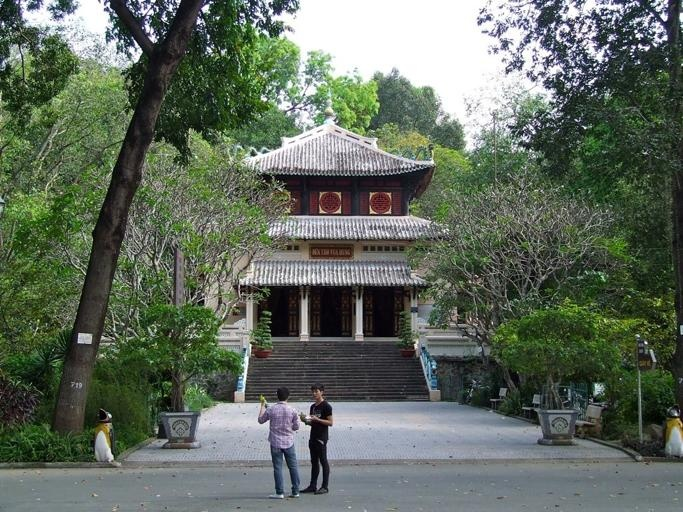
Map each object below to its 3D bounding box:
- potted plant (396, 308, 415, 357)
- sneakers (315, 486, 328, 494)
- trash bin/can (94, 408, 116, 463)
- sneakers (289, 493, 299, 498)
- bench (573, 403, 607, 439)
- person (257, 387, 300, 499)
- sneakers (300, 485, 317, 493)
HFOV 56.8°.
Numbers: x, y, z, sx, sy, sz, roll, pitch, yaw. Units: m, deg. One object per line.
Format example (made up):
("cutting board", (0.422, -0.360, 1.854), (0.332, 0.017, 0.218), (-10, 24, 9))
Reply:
("potted plant", (3.357, 3.940, 32.159), (0.779, 2.509, 1.920), (-2, -16, 7))
("sneakers", (-0.332, 3.984, 10.702), (0.176, 0.074, 0.090), (0, -4, 4))
("trash bin/can", (-4.974, 3.825, 13.317), (0.468, 1.087, 0.576), (6, -16, -20))
("sneakers", (-0.768, 3.940, 10.366), (0.166, 0.071, 0.164), (2, -16, -6))
("bench", (6.916, 4.592, 17.495), (0.768, 0.953, 1.388), (-1, -11, -5))
("person", (-1.054, 3.200, 10.915), (0.695, 1.814, 1.167), (1, -15, -3))
("sneakers", (-0.547, 3.975, 10.744), (0.285, 0.134, 0.101), (3, -11, 3))
